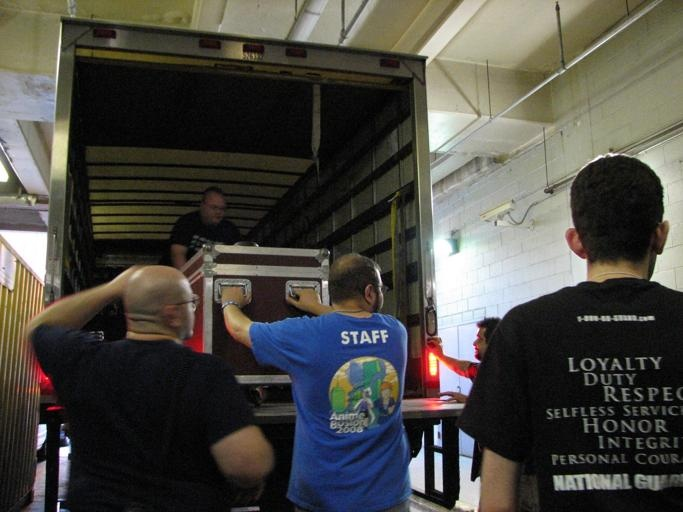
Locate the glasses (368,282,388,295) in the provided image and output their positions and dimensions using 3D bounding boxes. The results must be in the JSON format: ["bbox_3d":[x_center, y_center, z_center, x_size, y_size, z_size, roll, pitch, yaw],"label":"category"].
[{"bbox_3d":[0.209,0.175,2.984,0.139,0.048,0.141,1,-10,-3],"label":"glasses"}]

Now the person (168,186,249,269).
[{"bbox_3d":[-1.257,-0.133,5.410,0.717,1.005,0.652,6,-1,-39],"label":"person"}]

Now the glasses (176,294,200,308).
[{"bbox_3d":[-0.596,0.177,2.218,0.078,0.025,0.081,-16,2,-6],"label":"glasses"}]
